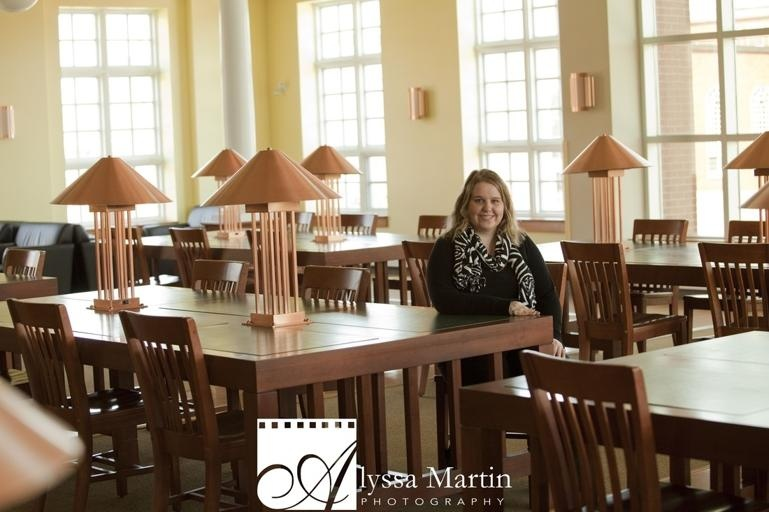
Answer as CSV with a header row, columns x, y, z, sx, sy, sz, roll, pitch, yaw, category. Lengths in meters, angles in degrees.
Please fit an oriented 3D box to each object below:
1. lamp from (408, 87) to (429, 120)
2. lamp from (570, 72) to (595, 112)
x,y,z,sx,sy,sz,roll,pitch,yaw,category
0.530,-2.449,10.598,0.302,0.514,0.126,0,7,33,lamp
2.623,-2.176,8.763,0.304,0.505,0.161,0,7,31,lamp
